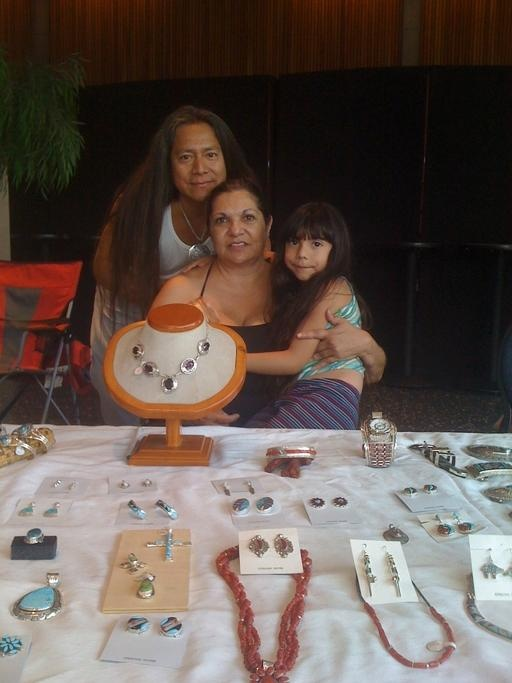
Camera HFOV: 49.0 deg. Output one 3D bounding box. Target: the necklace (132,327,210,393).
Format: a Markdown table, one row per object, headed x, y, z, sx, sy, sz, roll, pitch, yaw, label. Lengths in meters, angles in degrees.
| x | y | z | sx | sy | sz | roll | pitch | yaw | label |
| --- | --- | --- | --- | --- | --- | --- | --- | --- | --- |
| -0.220 | 0.062 | 1.426 | 0.179 | 0.066 | 0.124 | -1 | 49 | -2 | necklace |

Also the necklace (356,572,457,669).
| x | y | z | sx | sy | sz | roll | pitch | yaw | label |
| --- | --- | --- | --- | --- | --- | --- | --- | --- | --- |
| 0.216 | 0.393 | 0.790 | 0.107 | 0.015 | 0.183 | -1 | 10 | -5 | necklace |

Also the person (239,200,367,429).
| x | y | z | sx | sy | sz | roll | pitch | yaw | label |
| --- | --- | --- | --- | --- | --- | --- | --- | --- | --- |
| 0.203 | -0.119 | 2.220 | 0.456 | 0.862 | 0.566 | 2 | 11 | 11 | person |

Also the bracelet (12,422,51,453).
| x | y | z | sx | sy | sz | roll | pitch | yaw | label |
| --- | --- | --- | --- | --- | --- | --- | --- | --- | --- |
| -0.566 | 0.245 | 1.432 | 0.086 | 0.033 | 0.065 | 26 | 32 | -18 | bracelet |

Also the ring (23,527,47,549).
| x | y | z | sx | sy | sz | roll | pitch | yaw | label |
| --- | --- | --- | --- | --- | --- | --- | --- | --- | --- |
| -0.380 | 0.332 | 0.957 | 0.033 | 0.020 | 0.030 | 0 | 10 | 0 | ring |
